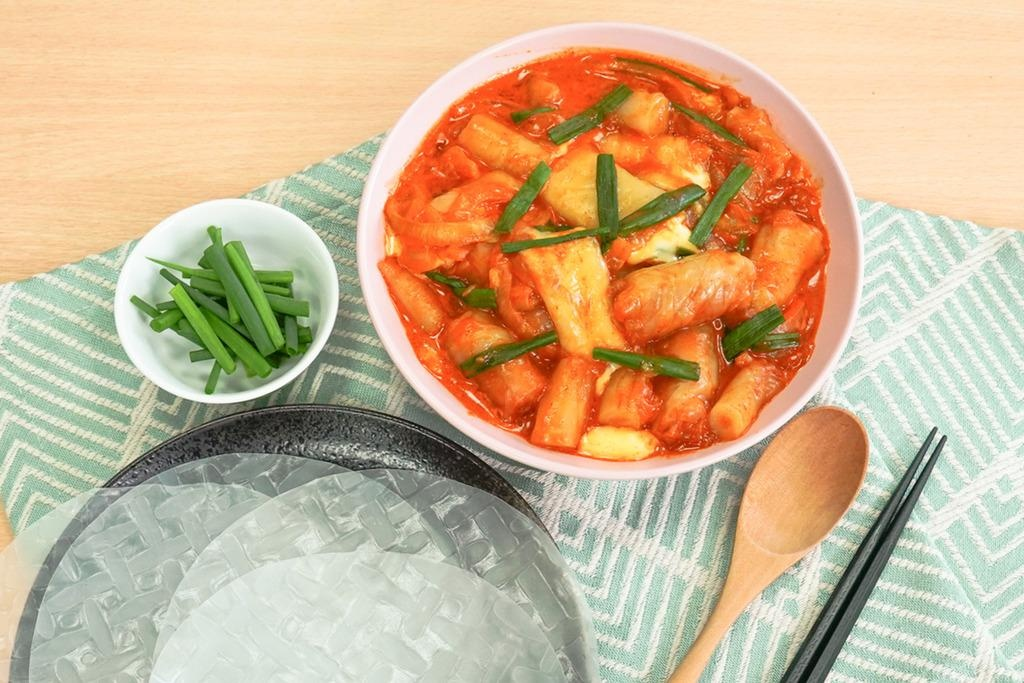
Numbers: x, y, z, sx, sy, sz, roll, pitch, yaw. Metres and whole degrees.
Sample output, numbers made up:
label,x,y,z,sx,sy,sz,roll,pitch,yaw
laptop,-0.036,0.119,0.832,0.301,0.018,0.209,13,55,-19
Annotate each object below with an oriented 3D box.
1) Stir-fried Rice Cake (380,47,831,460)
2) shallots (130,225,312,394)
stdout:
label,x,y,z,sx,sy,sz,roll,pitch,yaw
Stir-fried Rice Cake,0.327,-0.316,2.665,1.638,0.538,1.337,-3,87,0
shallots,-1.093,-0.079,3.352,0.627,0.234,0.637,-38,91,-14
